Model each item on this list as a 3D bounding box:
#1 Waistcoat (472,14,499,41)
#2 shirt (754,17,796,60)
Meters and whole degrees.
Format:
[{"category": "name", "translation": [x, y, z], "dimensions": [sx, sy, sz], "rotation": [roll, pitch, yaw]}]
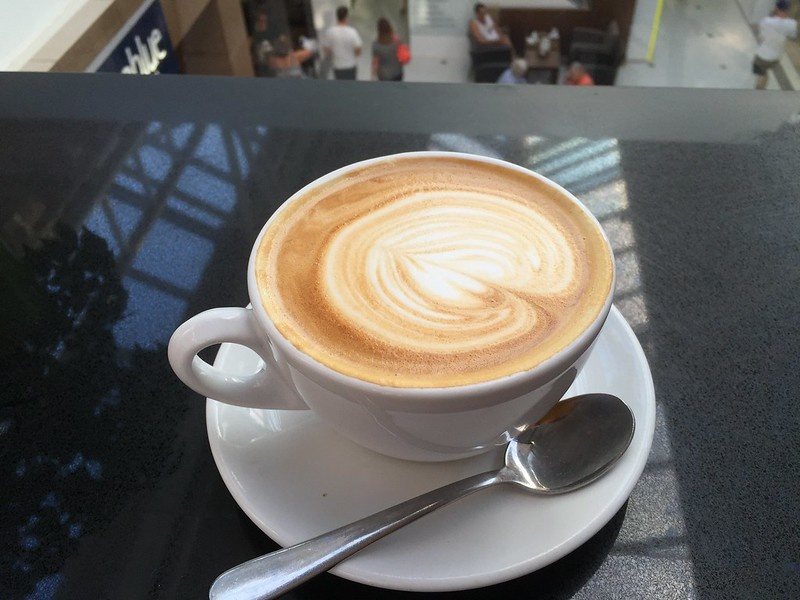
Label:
[{"category": "Waistcoat", "translation": [0.381, -1.181, 2.657], "dimensions": [0.099, 0.056, 0.112], "rotation": [-30, 68, -11]}, {"category": "shirt", "translation": [1.480, -1.022, 2.386], "dimensions": [0.139, 0.168, 0.093], "rotation": [27, 37, 23]}]
